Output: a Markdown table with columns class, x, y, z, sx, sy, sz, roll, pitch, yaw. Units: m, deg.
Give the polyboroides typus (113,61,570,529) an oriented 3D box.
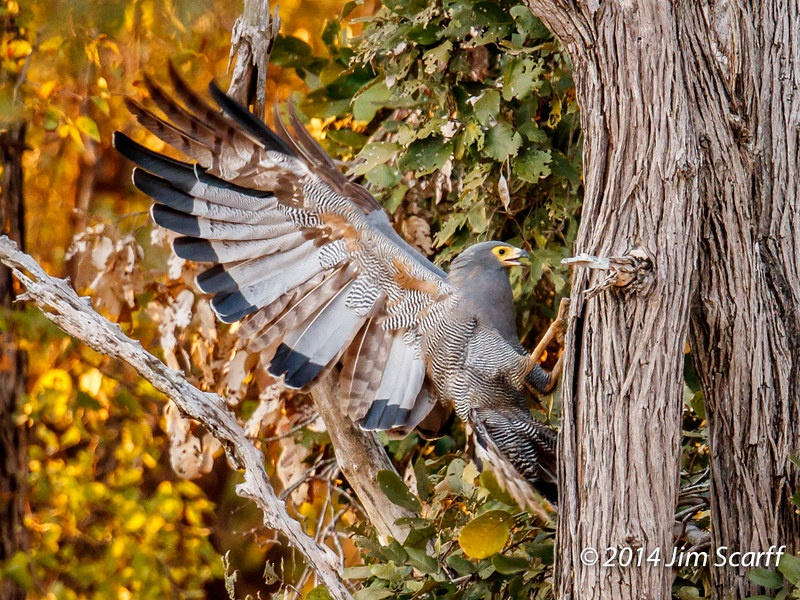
| class | x | y | z | sx | sy | sz | roll | pitch | yaw |
| --- | --- | --- | --- | --- | --- | --- | --- | --- | --- |
| polyboroides typus | -0.126 | -0.027 | 5.060 | 0.982 | 1.598 | 0.418 | -27 | 5 | 0 |
